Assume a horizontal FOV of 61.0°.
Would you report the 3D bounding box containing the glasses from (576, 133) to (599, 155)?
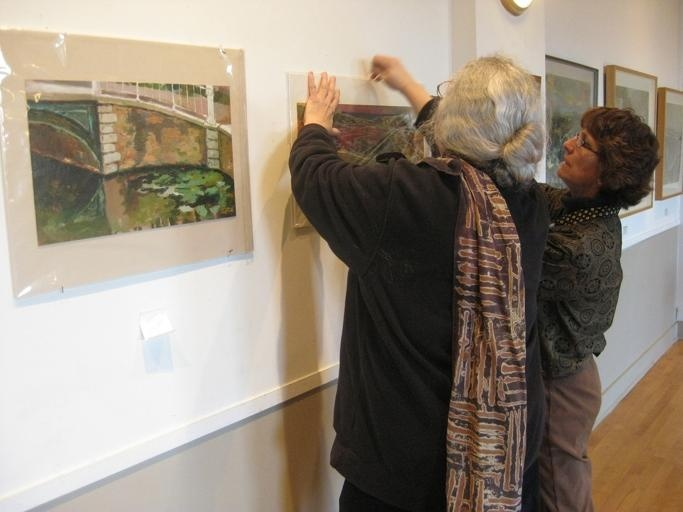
[{"bbox_3d":[0.878,-0.404,2.089,0.072,0.022,0.077,13,32,-14],"label":"glasses"}]
